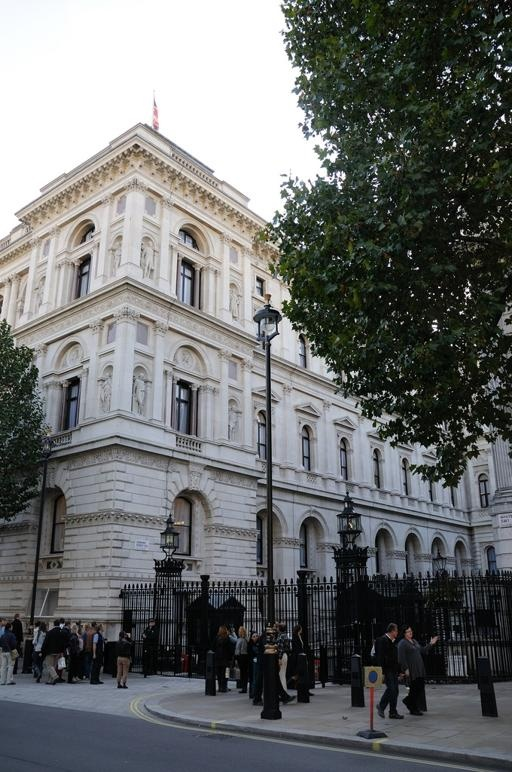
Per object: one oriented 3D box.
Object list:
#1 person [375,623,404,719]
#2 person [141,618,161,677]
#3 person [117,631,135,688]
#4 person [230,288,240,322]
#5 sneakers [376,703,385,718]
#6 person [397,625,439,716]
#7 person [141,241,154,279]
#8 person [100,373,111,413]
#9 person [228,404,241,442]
[{"bbox_3d":[2.075,4.518,9.412,0.408,1.354,1.230,-5,-20,10],"label":"person"},{"bbox_3d":[-3.244,8.069,18.253,0.455,1.598,1.530,1,-20,-8],"label":"person"},{"bbox_3d":[-3.307,6.879,14.881,0.346,1.262,1.055,2,-20,-12],"label":"person"},{"bbox_3d":[-1.119,-4.361,31.115,0.218,1.930,0.731,-14,-23,31],"label":"person"},{"bbox_3d":[1.909,4.996,9.111,0.096,0.205,0.312,-6,-21,11],"label":"sneakers"},{"bbox_3d":[2.610,4.579,9.511,0.601,1.284,1.176,-6,-20,12],"label":"person"},{"bbox_3d":[-4.876,-5.643,26.551,0.230,2.137,0.859,-11,-21,25],"label":"person"},{"bbox_3d":[-6.133,0.320,24.253,0.223,1.697,0.839,13,-24,-36],"label":"person"},{"bbox_3d":[-1.101,1.704,28.818,0.224,2.075,0.955,-13,-22,30],"label":"person"}]
